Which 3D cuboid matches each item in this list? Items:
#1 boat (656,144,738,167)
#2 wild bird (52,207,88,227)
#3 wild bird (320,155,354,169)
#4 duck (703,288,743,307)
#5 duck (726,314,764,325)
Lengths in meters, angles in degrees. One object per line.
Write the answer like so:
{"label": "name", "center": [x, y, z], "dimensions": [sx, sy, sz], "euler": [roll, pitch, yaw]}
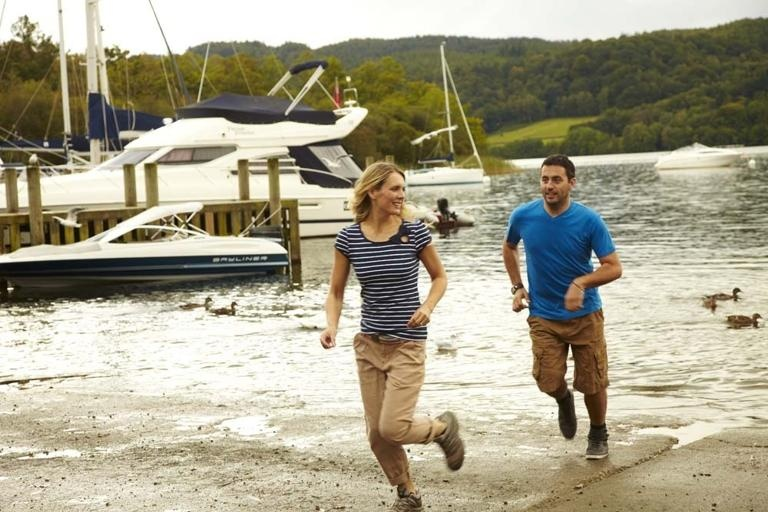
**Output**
{"label": "boat", "center": [25.212, -8.025, 88.938], "dimensions": [7.587, 2.070, 2.397], "euler": [-2, 5, 28]}
{"label": "wild bird", "center": [-7.676, -0.926, 26.760], "dimensions": [0.623, 0.308, 0.956], "euler": [-1, -13, -44]}
{"label": "wild bird", "center": [-1.608, -3.127, 35.850], "dimensions": [0.970, 0.467, 0.378], "euler": [-4, 46, 34]}
{"label": "duck", "center": [6.938, 0.801, 22.543], "dimensions": [0.728, 0.282, 0.837], "euler": [-1, 4, 13]}
{"label": "duck", "center": [6.903, 1.205, 20.930], "dimensions": [0.635, 0.288, 0.244], "euler": [5, 5, 13]}
